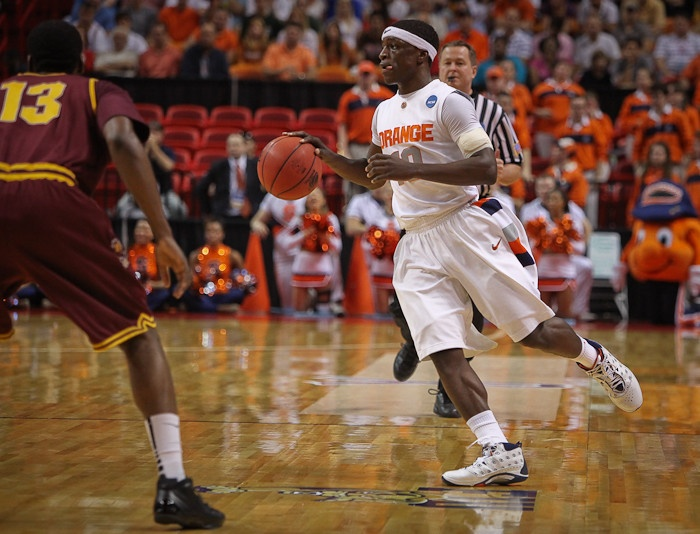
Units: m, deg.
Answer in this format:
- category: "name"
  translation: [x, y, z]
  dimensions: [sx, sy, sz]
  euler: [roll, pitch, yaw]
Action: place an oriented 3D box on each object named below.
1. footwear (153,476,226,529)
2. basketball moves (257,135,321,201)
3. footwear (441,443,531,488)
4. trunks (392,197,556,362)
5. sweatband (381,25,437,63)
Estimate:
- category: "footwear"
  translation: [-0.567, 0.857, 2.806]
  dimensions: [0.355, 0.212, 0.118]
  euler: [4, -6, -15]
- category: "basketball moves"
  translation: [-0.336, -0.509, 4.006]
  dimensions: [0.332, 0.350, 0.313]
  euler: [9, -3, -21]
- category: "footwear"
  translation: [0.527, 0.841, 3.307]
  dimensions: [0.451, 0.188, 0.145]
  euler: [0, -2, -3]
- category: "trunks"
  translation: [0.581, 0.060, 3.709]
  dimensions: [0.825, 0.732, 0.445]
  euler: [-18, 8, 11]
- category: "sweatband"
  translation: [0.284, -1.028, 3.699]
  dimensions: [0.207, 0.051, 0.180]
  euler: [17, 6, -20]
